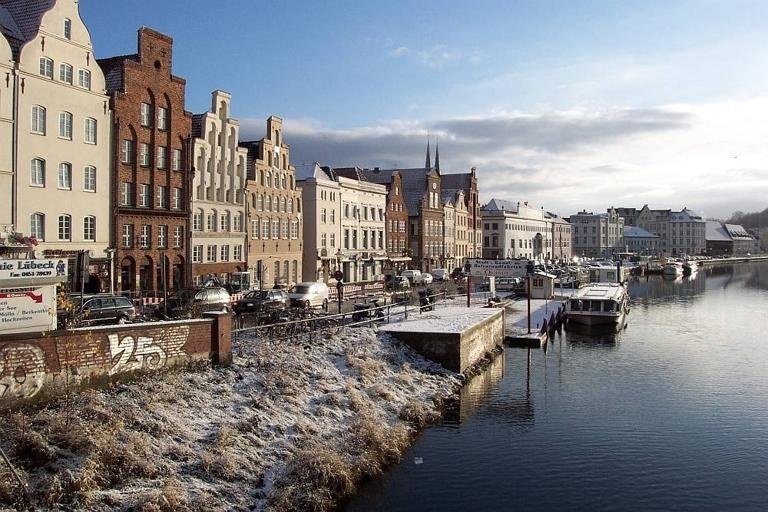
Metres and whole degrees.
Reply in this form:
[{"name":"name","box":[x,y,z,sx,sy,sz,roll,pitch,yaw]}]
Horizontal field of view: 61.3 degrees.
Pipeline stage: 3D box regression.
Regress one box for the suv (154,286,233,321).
[{"name":"suv","box":[-12.492,2.963,42.072,2.853,2.200,5.879,-3,-6,27]}]

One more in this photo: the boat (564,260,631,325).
[{"name":"boat","box":[21.914,5.639,67.114,4.547,5.657,14.750,1,8,16]}]

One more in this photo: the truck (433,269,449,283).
[{"name":"truck","box":[7.939,2.756,93.818,1.946,1.513,3.448,7,9,19]}]

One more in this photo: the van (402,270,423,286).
[{"name":"van","box":[3.924,2.862,87.111,1.509,1.476,2.570,-2,-5,15]}]

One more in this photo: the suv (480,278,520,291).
[{"name":"suv","box":[14.503,4.001,81.638,4.670,1.664,2.281,1,0,8]}]
